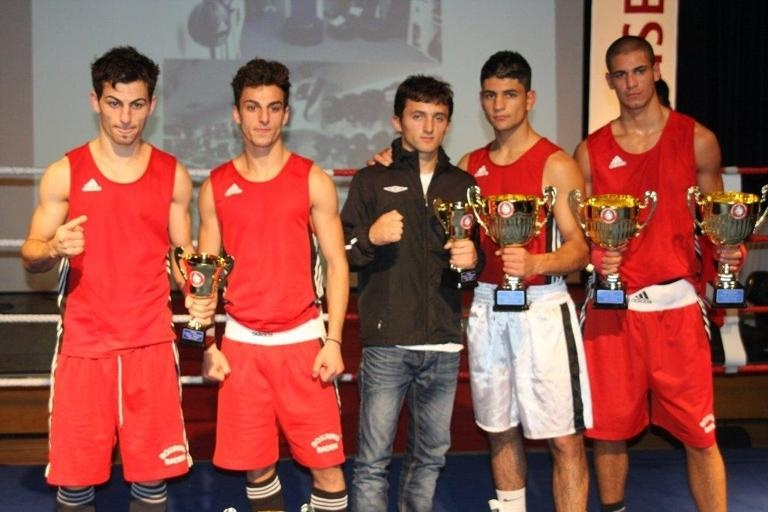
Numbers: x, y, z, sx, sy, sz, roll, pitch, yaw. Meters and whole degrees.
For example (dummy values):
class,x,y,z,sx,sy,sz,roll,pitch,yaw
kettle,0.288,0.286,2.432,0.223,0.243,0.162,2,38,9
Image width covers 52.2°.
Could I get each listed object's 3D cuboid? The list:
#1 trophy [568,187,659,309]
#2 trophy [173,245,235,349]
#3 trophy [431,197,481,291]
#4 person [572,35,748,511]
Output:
class,x,y,z,sx,sy,sz,roll,pitch,yaw
trophy,1.233,-0.043,4.242,0.490,0.623,0.318,1,6,20
trophy,-0.908,0.217,4.104,0.272,0.532,0.342,0,-2,-8
trophy,0.388,-0.067,4.143,0.319,0.482,0.169,-5,3,-39
person,1.527,0.075,4.714,1.075,2.459,0.876,1,-3,4
